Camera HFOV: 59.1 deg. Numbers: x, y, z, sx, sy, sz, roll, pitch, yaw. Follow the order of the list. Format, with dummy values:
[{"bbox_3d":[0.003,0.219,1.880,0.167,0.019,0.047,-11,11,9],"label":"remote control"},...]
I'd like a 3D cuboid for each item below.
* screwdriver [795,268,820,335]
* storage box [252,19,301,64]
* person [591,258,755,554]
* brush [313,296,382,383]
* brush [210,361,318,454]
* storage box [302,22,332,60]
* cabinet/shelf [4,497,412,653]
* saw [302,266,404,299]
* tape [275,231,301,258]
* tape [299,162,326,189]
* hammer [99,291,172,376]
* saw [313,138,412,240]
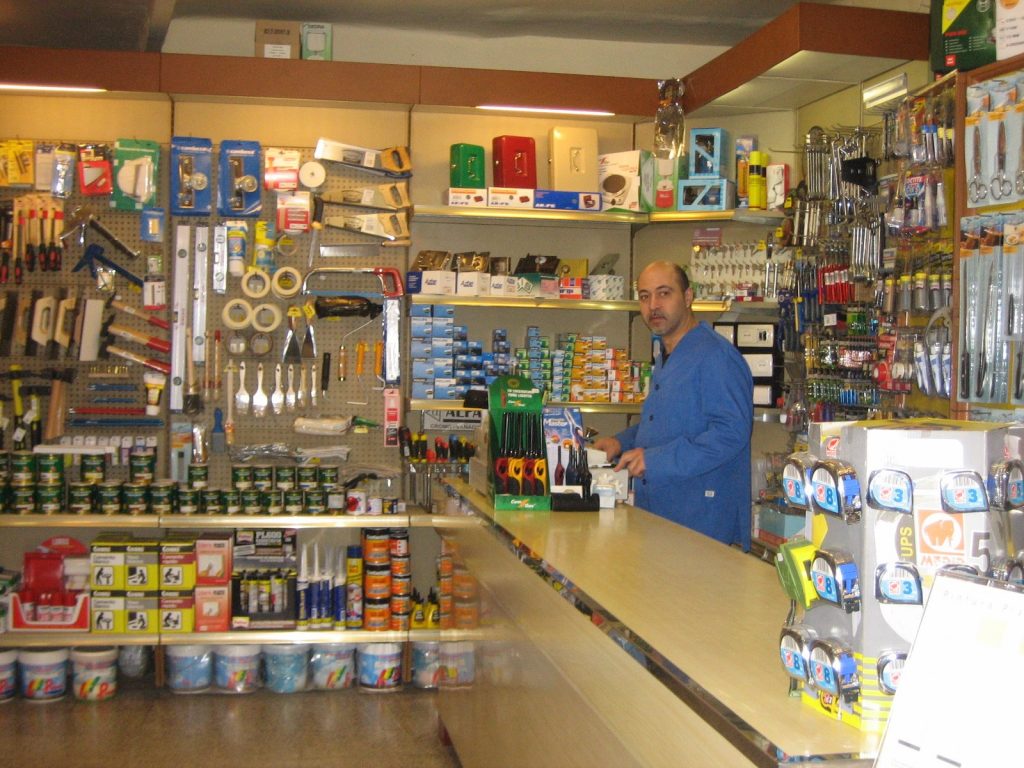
[{"bbox_3d":[1.574,-0.447,4.792,0.054,0.377,0.150,-2,1,-16],"label":"screwdriver"},{"bbox_3d":[-1.298,-1.884,4.988,0.238,0.179,0.150,-3,2,-15],"label":"storage box"},{"bbox_3d":[0.730,0.363,3.973,0.620,1.727,0.678,-17,19,-36],"label":"person"},{"bbox_3d":[-0.963,-0.261,5.187,0.294,0.455,0.198,2,6,-4],"label":"brush"},{"bbox_3d":[-1.402,0.096,5.105,0.470,0.533,0.011,0,2,-10],"label":"brush"},{"bbox_3d":[-1.098,-1.928,5.109,0.183,0.284,0.195,1,19,-5],"label":"storage box"},{"bbox_3d":[-1.559,0.993,4.628,2.404,0.897,0.392,0,1,-11],"label":"cabinet/shelf"},{"bbox_3d":[-0.908,-0.573,5.162,0.573,0.136,0.084,-2,1,-3],"label":"saw"},{"bbox_3d":[-1.292,-0.794,5.162,0.133,0.145,0.045,2,-2,-8],"label":"tape"},{"bbox_3d":[-1.140,-1.186,5.149,0.153,0.125,0.079,-2,1,-13],"label":"tape"},{"bbox_3d":[-2.120,-0.277,5.068,0.365,0.410,0.130,-3,1,-21],"label":"hammer"},{"bbox_3d":[-0.826,-1.072,5.159,0.530,0.566,0.268,2,7,-4],"label":"saw"}]
